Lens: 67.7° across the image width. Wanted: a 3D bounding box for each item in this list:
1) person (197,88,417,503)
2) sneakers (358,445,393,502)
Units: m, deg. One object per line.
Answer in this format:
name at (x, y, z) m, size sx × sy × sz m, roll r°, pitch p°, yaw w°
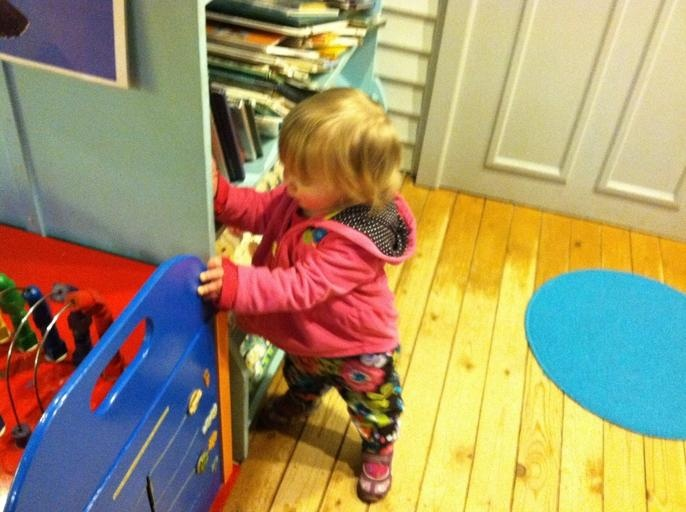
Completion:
person at (-0.103, 0.148, 1.258) m, size 0.519 × 1.050 × 0.488 m, roll 8°, pitch 34°, yaw 6°
sneakers at (0.094, 0.616, 1.440) m, size 0.078 × 0.064 × 0.178 m, roll 3°, pitch 82°, yaw 13°
